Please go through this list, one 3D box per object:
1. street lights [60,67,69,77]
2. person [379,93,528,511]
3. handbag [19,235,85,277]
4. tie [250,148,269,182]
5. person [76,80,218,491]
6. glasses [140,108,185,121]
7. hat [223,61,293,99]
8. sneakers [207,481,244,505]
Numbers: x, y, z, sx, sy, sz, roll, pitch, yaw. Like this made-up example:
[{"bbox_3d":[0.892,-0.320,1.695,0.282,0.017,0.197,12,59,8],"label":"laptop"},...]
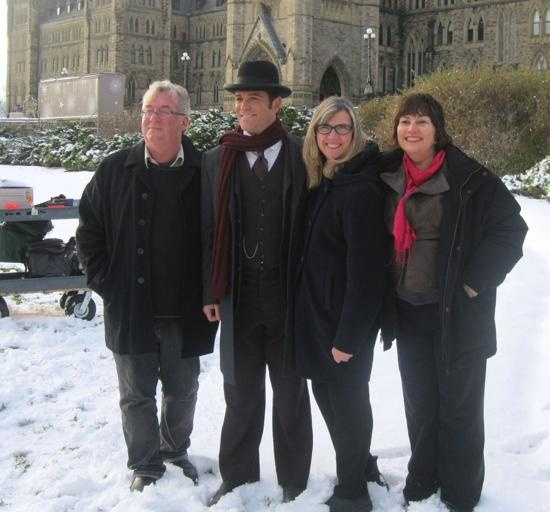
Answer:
[{"bbox_3d":[-22.371,-19.854,68.952,0.995,1.057,0.581,12,20,42],"label":"street lights"},{"bbox_3d":[1.037,0.254,3.886,0.818,2.469,0.475,1,8,23],"label":"person"},{"bbox_3d":[-2.725,0.025,7.986,0.739,0.504,1.050,0,3,-6],"label":"handbag"},{"bbox_3d":[-0.095,-0.586,4.146,0.102,0.180,0.075,0,8,16],"label":"tie"},{"bbox_3d":[-0.833,0.167,4.341,0.856,2.644,0.644,-5,8,-20],"label":"person"},{"bbox_3d":[-0.730,-0.948,4.259,0.249,0.057,0.098,-4,10,-4],"label":"glasses"},{"bbox_3d":[-0.112,-1.165,4.212,0.430,0.258,0.357,-3,9,-2],"label":"hat"},{"bbox_3d":[-0.332,1.508,4.082,0.165,0.074,0.287,1,11,19],"label":"sneakers"}]
